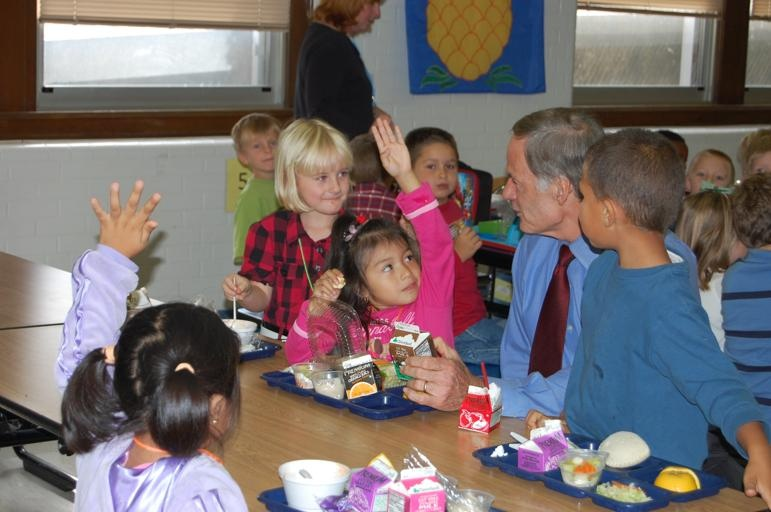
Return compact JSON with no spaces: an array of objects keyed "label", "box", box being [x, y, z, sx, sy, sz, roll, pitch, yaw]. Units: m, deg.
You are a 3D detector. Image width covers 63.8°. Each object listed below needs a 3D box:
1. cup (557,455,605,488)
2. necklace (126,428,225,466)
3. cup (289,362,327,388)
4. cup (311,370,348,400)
[{"label":"cup","box":[0.510,0.553,1.607,0.108,0.075,0.086,3,8,19]},{"label":"necklace","box":[-0.467,0.406,1.359,0.129,0.035,0.098,17,12,0]},{"label":"cup","box":[-0.277,0.395,2.110,0.085,0.044,0.086,0,3,0]},{"label":"cup","box":[-0.189,0.422,2.046,0.092,0.060,0.094,-4,0,0]}]
